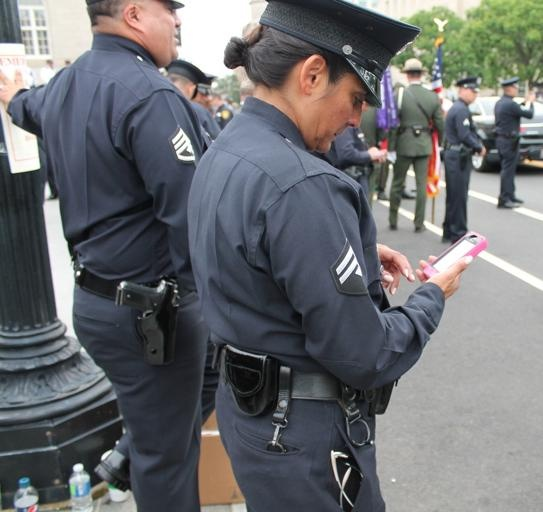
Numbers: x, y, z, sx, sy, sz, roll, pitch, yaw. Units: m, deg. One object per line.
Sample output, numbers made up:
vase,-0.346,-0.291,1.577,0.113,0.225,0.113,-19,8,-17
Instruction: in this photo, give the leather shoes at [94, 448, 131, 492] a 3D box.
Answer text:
leather shoes,-0.738,1.018,2.662,0.212,0.254,0.490,5,-16,-19

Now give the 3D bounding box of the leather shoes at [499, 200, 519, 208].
leather shoes,4.257,-0.942,9.779,0.343,0.146,0.165,2,15,18

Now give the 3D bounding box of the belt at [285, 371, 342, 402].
belt,0.110,0.330,1.395,0.088,0.052,0.073,7,-9,-15

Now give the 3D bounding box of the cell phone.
cell phone,0.650,0.007,1.932,0.233,0.037,0.115,-39,20,-3

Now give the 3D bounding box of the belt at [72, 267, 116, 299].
belt,-0.696,0.112,2.159,0.138,0.061,0.114,21,-8,12
